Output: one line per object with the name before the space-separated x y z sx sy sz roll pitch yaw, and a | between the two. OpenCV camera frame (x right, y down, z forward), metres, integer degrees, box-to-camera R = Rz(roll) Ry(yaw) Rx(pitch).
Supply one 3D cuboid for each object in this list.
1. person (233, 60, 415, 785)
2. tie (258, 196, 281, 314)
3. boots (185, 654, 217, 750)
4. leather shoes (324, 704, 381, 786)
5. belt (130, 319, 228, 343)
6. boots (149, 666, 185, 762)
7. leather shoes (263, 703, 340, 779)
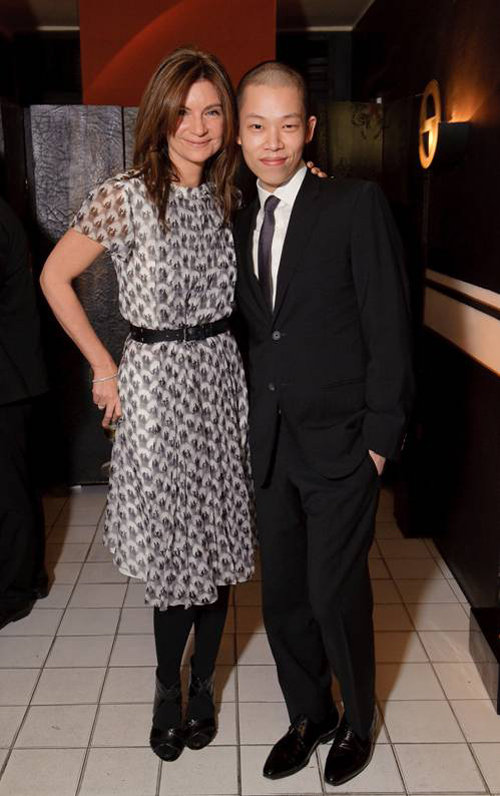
person | 0.146 0.103 1.349 0.404 1.531 0.253 2 8 16
tie | 0.042 -0.307 1.283 0.032 0.272 0.030 0 4 25
boots | -0.123 0.762 1.526 0.064 0.135 0.217 2 0 -2
leather shoes | 0.242 0.808 1.434 0.060 0.076 0.175 -7 21 32
belt | -0.146 -0.144 1.329 0.219 0.049 0.122 -2 9 -13
boots | -0.198 0.746 1.469 0.070 0.105 0.251 2 1 -5
leather shoes | 0.128 0.813 1.474 0.070 0.101 0.216 1 9 37
